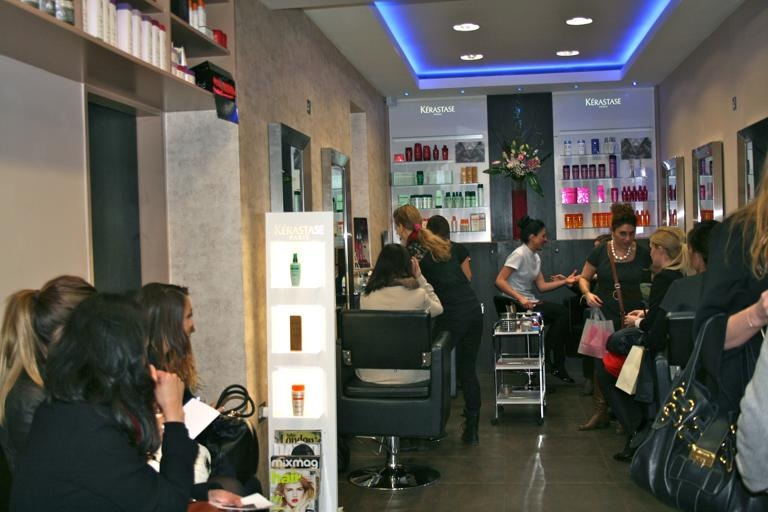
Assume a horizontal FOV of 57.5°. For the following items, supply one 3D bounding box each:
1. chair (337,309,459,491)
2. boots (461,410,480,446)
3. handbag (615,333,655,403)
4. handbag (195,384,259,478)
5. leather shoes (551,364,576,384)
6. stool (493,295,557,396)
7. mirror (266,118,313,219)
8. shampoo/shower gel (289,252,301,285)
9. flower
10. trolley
[{"bbox_3d":[0.069,1.081,5.822,0.997,1.507,0.985,-2,8,-7],"label":"chair"},{"bbox_3d":[0.815,1.603,6.601,0.159,0.311,0.307,-2,0,-12],"label":"boots"},{"bbox_3d":[2.047,0.924,5.730,0.153,0.435,0.300,10,3,-3],"label":"handbag"},{"bbox_3d":[-0.968,1.106,4.505,0.273,0.532,0.530,0,6,7],"label":"handbag"},{"bbox_3d":[2.168,1.470,8.607,0.356,0.252,0.145,-1,3,-2],"label":"leather shoes"},{"bbox_3d":[1.376,1.045,7.198,0.523,0.987,0.502,-2,-5,17],"label":"stool"},{"bbox_3d":[-0.865,-0.768,6.250,0.105,0.997,0.897,-2,10,17],"label":"mirror"},{"bbox_3d":[-0.613,0.100,4.830,0.075,0.222,0.034,-2,6,-2],"label":"shampoo/shower gel"},{"bbox_3d":[1.968,-1.298,10.078,0.513,0.835,0.815,25,5,-36],"label":"flower"},{"bbox_3d":[1.361,1.138,7.120,0.637,0.973,0.627,0,-2,-7],"label":"trolley"}]
